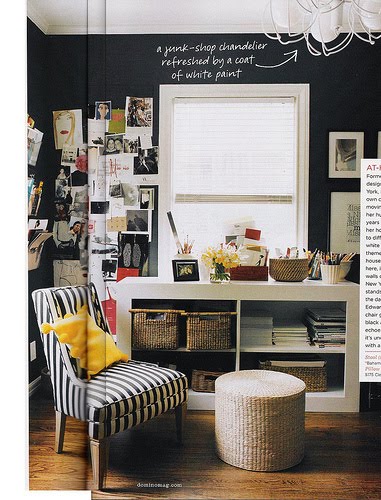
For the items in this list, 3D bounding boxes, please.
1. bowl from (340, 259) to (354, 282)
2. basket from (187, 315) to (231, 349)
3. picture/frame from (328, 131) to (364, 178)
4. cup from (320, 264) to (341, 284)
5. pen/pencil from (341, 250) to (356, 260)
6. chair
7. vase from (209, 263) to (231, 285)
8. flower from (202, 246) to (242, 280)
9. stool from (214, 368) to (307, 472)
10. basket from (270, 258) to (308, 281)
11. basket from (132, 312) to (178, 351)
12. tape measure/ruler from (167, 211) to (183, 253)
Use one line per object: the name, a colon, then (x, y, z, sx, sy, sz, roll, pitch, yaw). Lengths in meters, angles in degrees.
bowl: (0.558, 0.086, 1.809, 0.061, 0.057, 0.059, 0, 5, 0)
basket: (0.053, 0.334, 2.028, 0.206, 0.148, 0.121, 2, -9, -22)
picture/frame: (0.548, -0.346, 1.750, 0.171, 0.213, 0.016, 0, 4, -2)
cup: (0.513, 0.092, 1.823, 0.073, 0.055, 0.073, 0, -3, 0)
pen/pencil: (0.579, 0.024, 1.789, 0.026, 0.015, 0.039, 5, -41, -24)
chair: (-0.324, 0.461, 1.850, 0.483, 0.593, 0.431, 5, 7, 40)
vase: (0.121, 0.093, 2.007, 0.078, 0.085, 0.083, -1, -7, 28)
flower: (0.103, 0.043, 1.946, 0.144, 0.136, 0.140, -1, 2, -39)
stool: (0.250, 0.625, 1.919, 0.333, 0.294, 0.322, 0, 9, 1)
basket: (0.374, 0.079, 1.881, 0.110, 0.066, 0.105, -3, -6, 26)
basket: (-0.141, 0.327, 2.050, 0.172, 0.150, 0.170, 1, 1, 10)
tape measure/ruler: (-0.059, -0.071, 1.833, 0.040, 0.166, 0.028, -12, 22, 0)
